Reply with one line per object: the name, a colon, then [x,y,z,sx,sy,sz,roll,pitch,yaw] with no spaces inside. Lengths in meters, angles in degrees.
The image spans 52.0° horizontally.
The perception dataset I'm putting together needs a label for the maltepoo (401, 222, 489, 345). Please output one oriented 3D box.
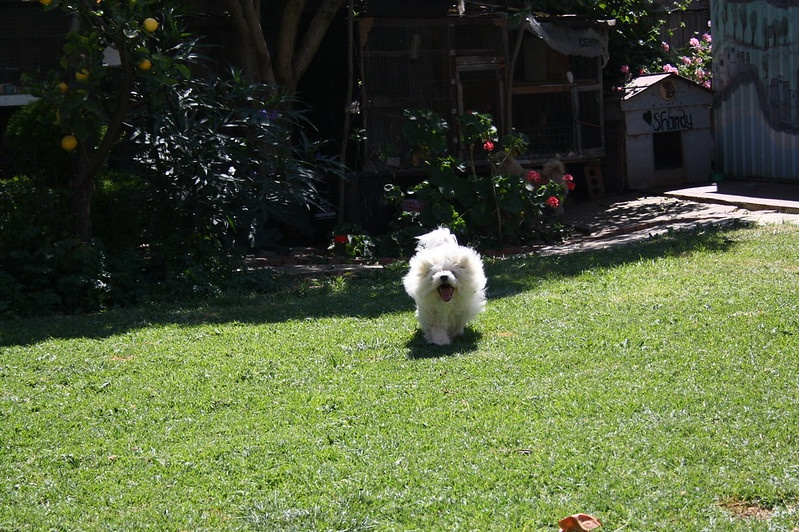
maltepoo: [0.464,0.193,8.536,0.695,0.904,1.250,0,5,2]
